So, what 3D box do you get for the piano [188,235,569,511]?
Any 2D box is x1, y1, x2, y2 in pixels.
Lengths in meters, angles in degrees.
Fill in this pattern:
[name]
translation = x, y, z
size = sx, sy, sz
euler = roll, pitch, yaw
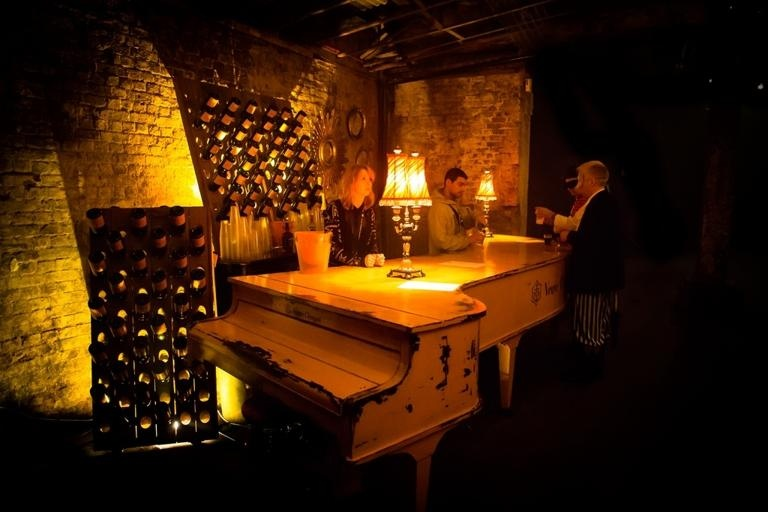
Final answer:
[piano]
translation = 0.361, 0.634, 4.704
size = 2.846, 1.214, 1.727
euler = -3, 4, -41
